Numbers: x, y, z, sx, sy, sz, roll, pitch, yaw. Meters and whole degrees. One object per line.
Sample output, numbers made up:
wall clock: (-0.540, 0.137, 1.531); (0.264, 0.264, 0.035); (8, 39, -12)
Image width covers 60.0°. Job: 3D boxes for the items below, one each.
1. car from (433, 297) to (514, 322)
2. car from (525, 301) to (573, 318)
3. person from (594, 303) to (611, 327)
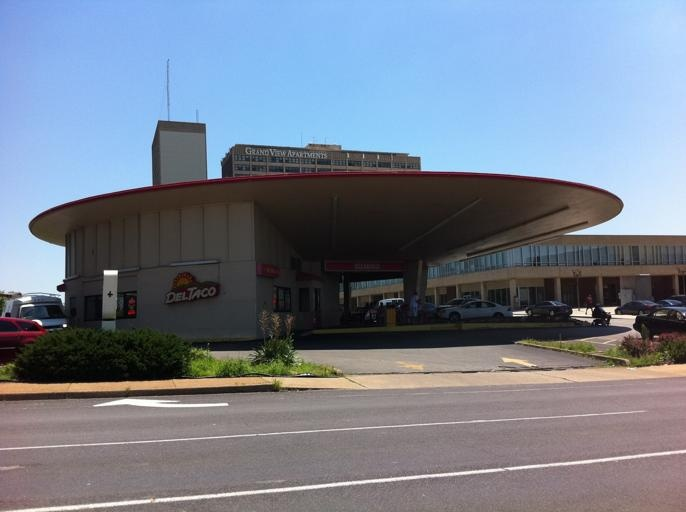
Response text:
car: (9.763, 3.948, 43.318); (5.275, 1.664, 2.121); (1, -8, -19)
car: (15.394, 4.076, 44.618); (1.622, 1.236, 3.551); (5, -3, -30)
person: (17.333, 4.014, 39.516); (0.969, 1.345, 1.684); (-4, -8, 22)
